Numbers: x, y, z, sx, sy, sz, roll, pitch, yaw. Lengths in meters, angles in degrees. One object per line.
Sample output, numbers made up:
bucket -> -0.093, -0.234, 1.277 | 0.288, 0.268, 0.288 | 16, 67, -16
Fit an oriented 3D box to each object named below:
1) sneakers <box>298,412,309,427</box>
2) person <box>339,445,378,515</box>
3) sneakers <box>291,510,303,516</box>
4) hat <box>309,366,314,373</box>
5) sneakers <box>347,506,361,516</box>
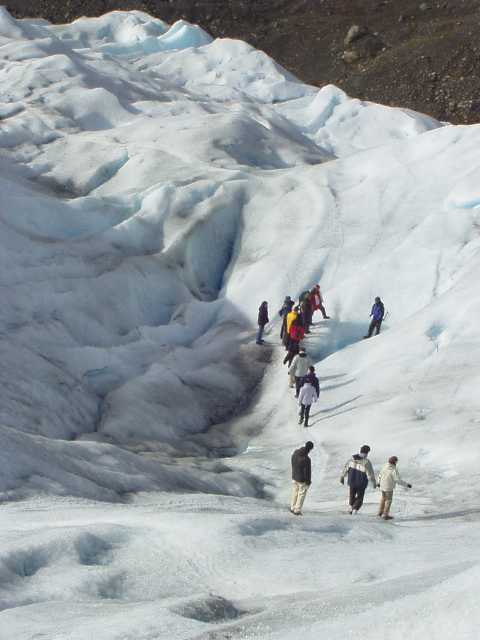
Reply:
sneakers -> 1.132, 1.767, 17.707 | 0.230, 0.324, 0.212 | 4, -2, 4
person -> 1.743, 2.438, 14.718 | 0.500, 1.530, 0.545 | 4, 42, 6
sneakers -> 0.820, 2.797, 14.510 | 0.060, 0.163, 0.103 | 9, 74, -18
hat -> 1.227, 0.826, 17.106 | 0.096, 0.067, 0.085 | 23, 46, -24
sneakers -> 1.686, 2.825, 14.854 | 0.082, 0.139, 0.230 | 7, -2, 22
